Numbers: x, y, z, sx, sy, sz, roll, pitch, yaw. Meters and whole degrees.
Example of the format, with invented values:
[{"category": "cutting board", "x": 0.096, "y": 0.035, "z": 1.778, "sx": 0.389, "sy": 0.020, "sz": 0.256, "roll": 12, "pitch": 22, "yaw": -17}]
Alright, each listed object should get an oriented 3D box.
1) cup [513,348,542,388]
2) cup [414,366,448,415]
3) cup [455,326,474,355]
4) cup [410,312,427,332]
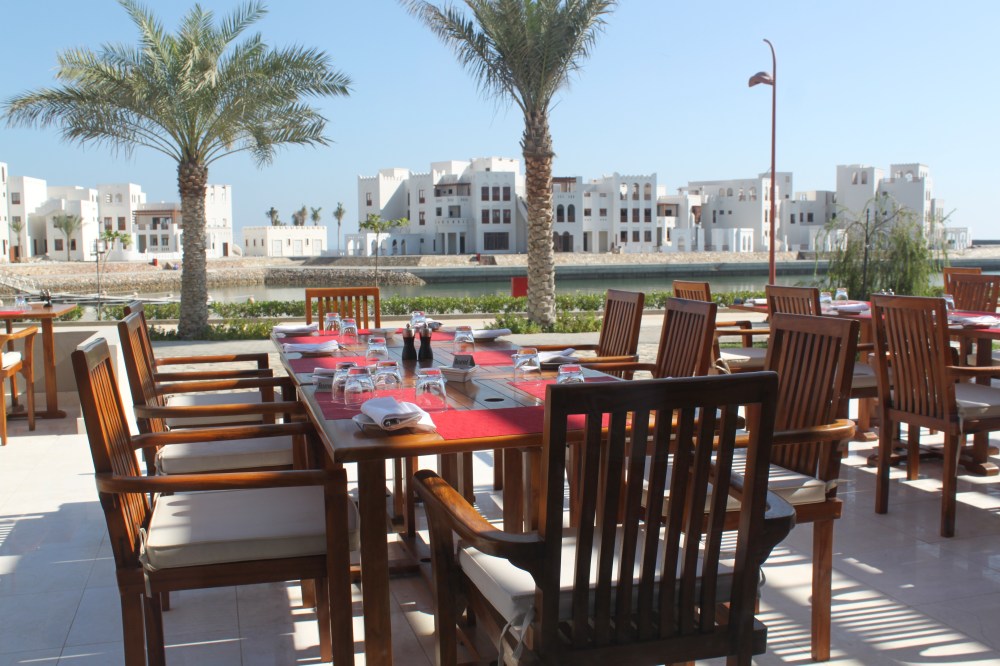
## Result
[{"category": "cup", "x": 0.151, "y": 0.167, "z": 4.174, "sx": 0.151, "sy": 0.251, "sz": 0.165, "roll": -3, "pitch": 14, "yaw": 1}, {"category": "cup", "x": -0.312, "y": 0.258, "z": 3.658, "sx": 0.170, "sy": 0.237, "sz": 0.167, "roll": -3, "pitch": 10, "yaw": 1}, {"category": "cup", "x": -0.217, "y": 0.051, "z": 4.926, "sx": 0.086, "sy": 0.166, "sz": 0.087, "roll": 0, "pitch": 41, "yaw": 0}, {"category": "cup", "x": -0.530, "y": -0.071, "z": 5.169, "sx": 0.108, "sy": 0.057, "sz": 0.153, "roll": -6, "pitch": 5, "yaw": -3}]
